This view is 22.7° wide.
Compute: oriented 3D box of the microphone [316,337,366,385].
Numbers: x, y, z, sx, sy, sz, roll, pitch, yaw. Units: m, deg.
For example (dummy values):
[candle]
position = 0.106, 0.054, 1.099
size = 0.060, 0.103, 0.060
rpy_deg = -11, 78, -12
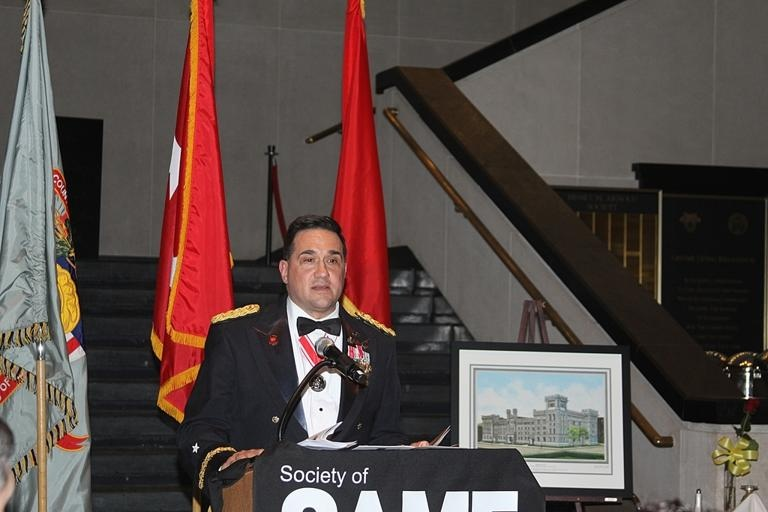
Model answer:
[microphone]
position = -0.326, 0.837, 15.204
size = 0.211, 0.201, 0.515
rpy_deg = -4, 27, -42

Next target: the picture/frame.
[picture/frame]
position = 1.289, 1.404, 15.822
size = 1.116, 1.066, 0.121
rpy_deg = 0, -7, 0
